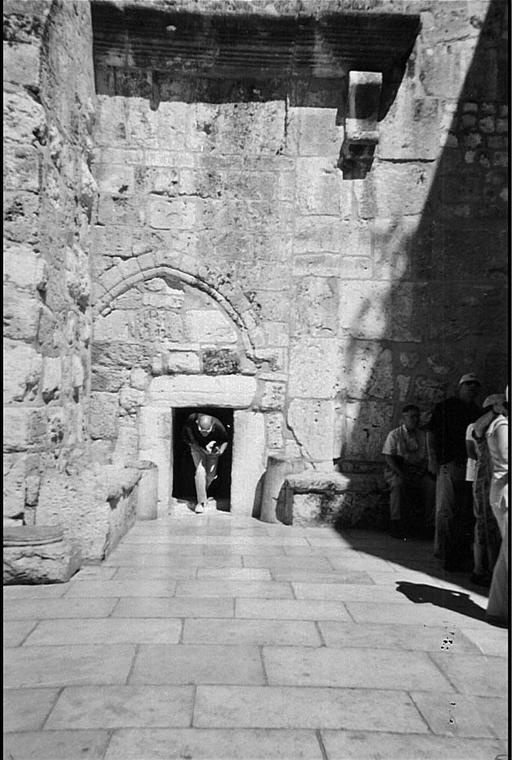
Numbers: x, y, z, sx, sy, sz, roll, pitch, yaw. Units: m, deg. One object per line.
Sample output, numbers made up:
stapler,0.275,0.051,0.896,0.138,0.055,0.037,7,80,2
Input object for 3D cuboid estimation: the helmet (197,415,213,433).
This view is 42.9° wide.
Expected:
helmet,-0.465,0.386,5.822,0.147,0.165,0.109,2,-3,-5

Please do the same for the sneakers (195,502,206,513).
sneakers,-0.494,1.143,5.870,0.083,0.083,0.270,1,-4,9

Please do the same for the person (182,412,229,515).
person,-0.465,0.748,5.974,0.417,0.883,0.419,3,-4,-22

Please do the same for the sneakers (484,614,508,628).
sneakers,1.055,1.053,2.850,0.053,0.069,0.155,-1,-18,1
